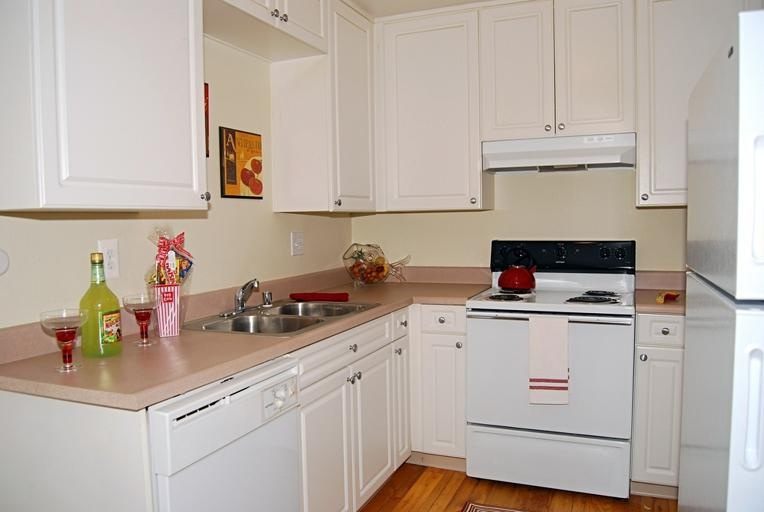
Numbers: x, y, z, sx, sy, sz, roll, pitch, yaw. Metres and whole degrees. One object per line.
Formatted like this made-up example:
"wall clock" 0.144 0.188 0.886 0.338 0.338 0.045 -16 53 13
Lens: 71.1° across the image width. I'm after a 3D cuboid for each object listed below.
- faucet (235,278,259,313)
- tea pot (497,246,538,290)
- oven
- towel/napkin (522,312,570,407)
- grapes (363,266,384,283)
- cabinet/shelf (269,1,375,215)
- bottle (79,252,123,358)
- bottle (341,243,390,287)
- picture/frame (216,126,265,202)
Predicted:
"faucet" -0.713 0.207 2.799 0.139 0.156 0.083 -5 6 -32
"tea pot" 0.844 0.085 3.414 0.283 0.300 0.220 2 -1 -2
"oven" 0.998 0.830 3.334 0.970 1.030 0.813 2 -2 8
"towel/napkin" 0.919 0.572 2.951 0.208 0.480 0.074 0 6 22
"grapes" -0.055 0.131 3.714 0.111 0.113 0.048 -26 -1 -4
"cabinet/shelf" -0.399 -0.890 3.248 0.378 1.249 0.863 1 6 26
"bottle" -1.105 0.192 2.086 0.135 0.396 0.086 -5 6 -31
"bottle" -0.108 0.064 3.727 0.263 0.223 0.307 -10 8 19
"picture/frame" -0.788 -0.503 2.922 0.036 0.509 0.440 2 2 28
